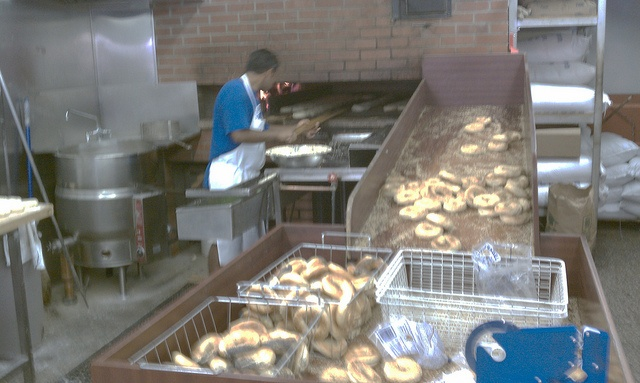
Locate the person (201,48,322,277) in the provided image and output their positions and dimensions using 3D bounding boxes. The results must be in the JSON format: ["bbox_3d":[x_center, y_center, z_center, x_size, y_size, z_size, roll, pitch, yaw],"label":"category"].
[{"bbox_3d":[-0.433,-0.174,3.692,0.578,1.652,0.614,2,7,23],"label":"person"}]

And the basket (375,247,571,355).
[{"bbox_3d":[0.664,0.451,2.301,0.763,0.260,0.454,2,24,15],"label":"basket"}]

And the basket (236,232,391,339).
[{"bbox_3d":[0.032,0.391,2.418,0.449,0.221,0.613,7,21,20],"label":"basket"}]
